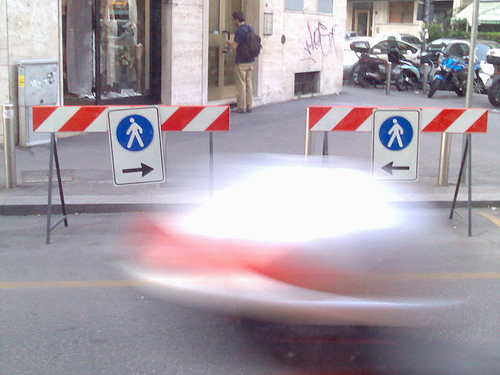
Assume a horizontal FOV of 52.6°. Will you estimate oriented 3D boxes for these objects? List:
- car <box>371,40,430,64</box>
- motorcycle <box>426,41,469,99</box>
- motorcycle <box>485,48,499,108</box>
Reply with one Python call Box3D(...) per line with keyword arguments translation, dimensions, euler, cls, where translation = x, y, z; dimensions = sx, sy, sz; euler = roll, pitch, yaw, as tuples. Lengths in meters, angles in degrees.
Box3D(translation=(6.093, -5.446, 20.473), dimensions=(1.993, 0.664, 1.300), euler=(-5, 25, -10), cls="car")
Box3D(translation=(7.514, -4.513, 19.150), dimensions=(1.294, 1.976, 4.457), euler=(6, 17, 21), cls="motorcycle")
Box3D(translation=(7.844, -3.531, 16.351), dimensions=(0.533, 1.726, 2.228), euler=(7, 16, 23), cls="motorcycle")
